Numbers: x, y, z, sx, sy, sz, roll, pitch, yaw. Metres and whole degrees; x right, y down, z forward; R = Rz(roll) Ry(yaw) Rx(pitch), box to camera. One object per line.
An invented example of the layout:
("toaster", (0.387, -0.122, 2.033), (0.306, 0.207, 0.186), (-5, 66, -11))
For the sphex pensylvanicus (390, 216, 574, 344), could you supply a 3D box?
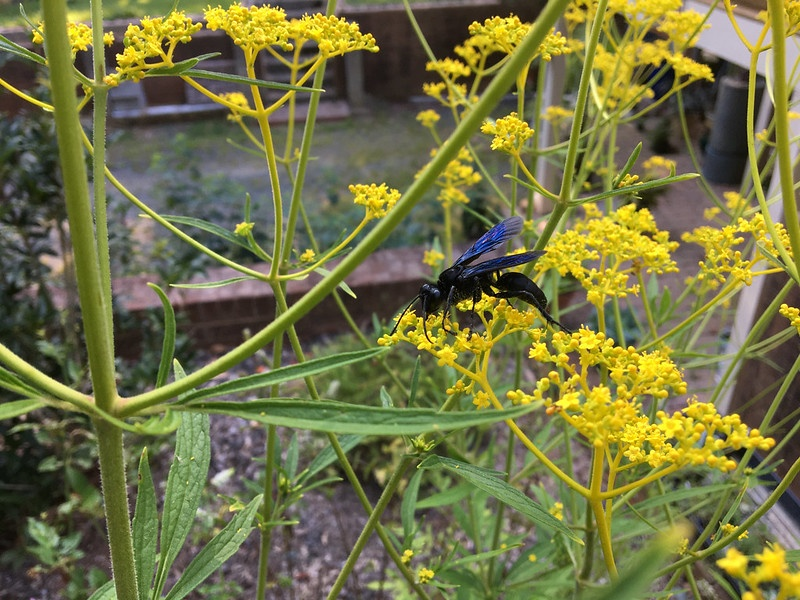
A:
("sphex pensylvanicus", (0.243, -0.032, 2.095), (0.503, 0.191, 0.392), (-11, 3, 11))
